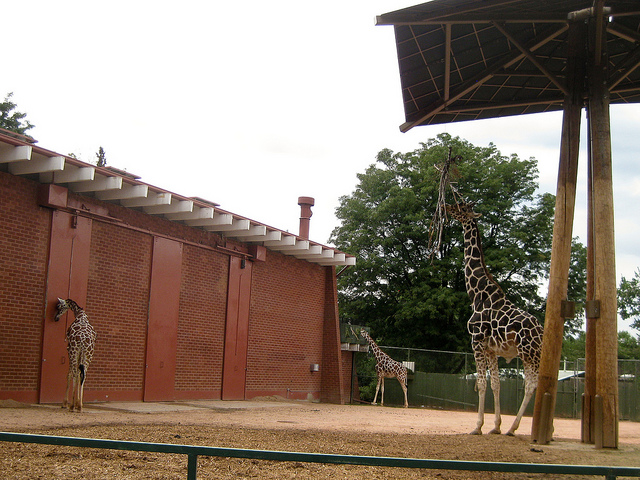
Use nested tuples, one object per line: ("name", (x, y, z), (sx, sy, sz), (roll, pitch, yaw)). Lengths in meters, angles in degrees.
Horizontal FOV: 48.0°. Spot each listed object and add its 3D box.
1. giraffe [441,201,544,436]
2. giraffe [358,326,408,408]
("giraffe", (3.619, 1.705, 14.772), (1.116, 4.763, 2.318), (2, 5, -14))
("giraffe", (2.553, 5.167, 27.969), (1.946, 3.191, 2.666), (4, 5, 7))
